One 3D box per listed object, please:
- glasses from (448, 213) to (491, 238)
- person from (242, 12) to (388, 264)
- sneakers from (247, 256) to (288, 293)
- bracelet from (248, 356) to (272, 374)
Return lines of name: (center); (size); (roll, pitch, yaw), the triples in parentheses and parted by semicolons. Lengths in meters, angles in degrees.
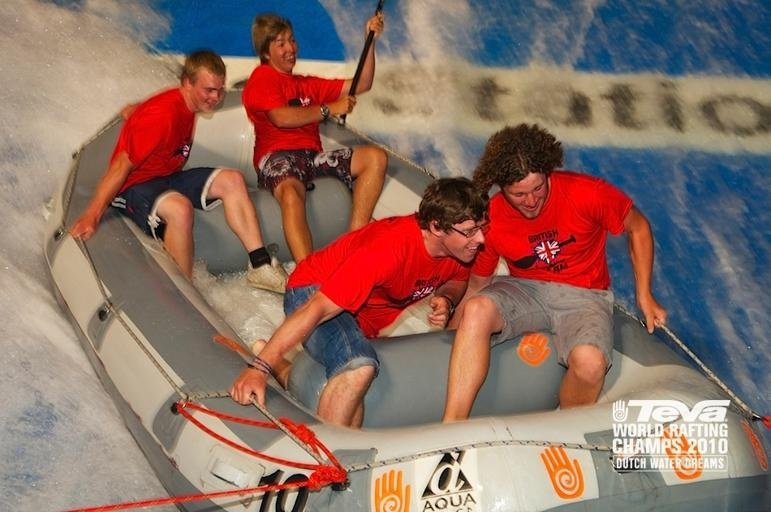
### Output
glasses: (0.403, -0.132, 3.443); (0.124, 0.040, 0.123); (-29, 20, -34)
person: (-0.361, -0.670, 4.574); (0.932, 1.685, 0.917); (-8, 8, -35)
sneakers: (-0.654, 0.085, 4.301); (0.289, 0.205, 0.173); (9, 18, -7)
bracelet: (-0.554, 0.495, 3.338); (0.078, 0.033, 0.077); (40, -15, -21)
